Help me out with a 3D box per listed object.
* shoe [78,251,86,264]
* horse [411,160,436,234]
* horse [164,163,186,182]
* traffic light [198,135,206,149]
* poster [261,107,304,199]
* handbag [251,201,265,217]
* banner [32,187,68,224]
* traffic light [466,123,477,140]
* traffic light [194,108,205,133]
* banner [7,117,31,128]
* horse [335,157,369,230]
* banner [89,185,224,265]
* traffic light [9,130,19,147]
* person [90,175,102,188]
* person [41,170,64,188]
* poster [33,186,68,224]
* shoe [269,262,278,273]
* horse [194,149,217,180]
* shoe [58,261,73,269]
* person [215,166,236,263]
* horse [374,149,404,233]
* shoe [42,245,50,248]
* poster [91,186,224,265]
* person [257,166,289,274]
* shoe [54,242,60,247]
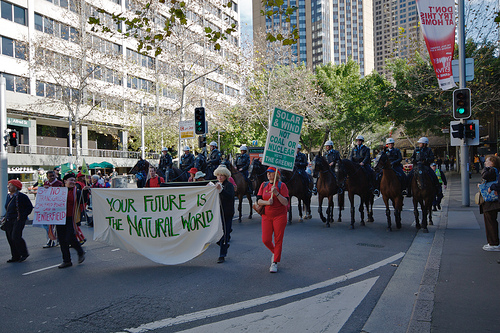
[{"bbox_3d":[-5.736,3.071,16.757,0.147,0.440,0.183,14,-5,-13],"label":"shoe"},{"bbox_3d":[7.097,1.207,20.097,0.926,2.985,2.336,2,11,21],"label":"horse"},{"bbox_3d":[-3.842,0.296,25.288,1.027,0.903,0.614,-4,11,-11],"label":"horse"},{"bbox_3d":[-2.546,-1.342,26.223,0.368,0.686,0.552,-3,11,-4],"label":"traffic light"},{"bbox_3d":[1.067,-0.846,16.151,1.064,3.262,0.114,9,-8,-5],"label":"poster"},{"bbox_3d":[0.338,1.362,15.670,0.298,0.399,0.164,15,18,41],"label":"handbag"},{"bbox_3d":[-6.866,1.352,16.969,1.333,1.384,0.103,0,-14,9],"label":"banner"},{"bbox_3d":[10.812,-1.700,23.976,0.423,0.817,0.954,4,12,30],"label":"traffic light"},{"bbox_3d":[-2.613,-2.383,25.381,0.494,1.245,0.390,-3,11,-3],"label":"traffic light"},{"bbox_3d":[-21.413,-4.051,45.195,0.948,1.047,2.642,1,11,17],"label":"banner"},{"bbox_3d":[4.885,1.174,22.148,1.046,3.023,4.175,-4,-6,31],"label":"horse"},{"bbox_3d":[-2.756,2.130,18.152,3.784,2.813,3.991,0,-1,8],"label":"banner"},{"bbox_3d":[-12.455,-1.473,25.818,0.354,0.810,0.410,-3,11,-5],"label":"traffic light"},{"bbox_3d":[-7.454,0.910,23.709,0.526,0.896,1.002,1,-2,-15],"label":"person"},{"bbox_3d":[-7.574,0.546,18.804,1.024,0.981,0.651,0,-3,-18],"label":"person"},{"bbox_3d":[-6.860,1.353,16.963,1.291,1.332,0.108,-2,-14,12],"label":"poster"},{"bbox_3d":[0.746,3.191,15.584,0.195,0.200,0.472,-2,-15,6],"label":"shoe"},{"bbox_3d":[-2.385,0.025,25.899,1.081,1.469,1.369,-4,11,-7],"label":"horse"},{"bbox_3d":[-6.216,3.259,16.529,0.476,0.164,0.326,-7,11,-24],"label":"shoe"},{"bbox_3d":[-0.872,1.558,16.537,0.502,3.132,0.915,4,13,32],"label":"person"},{"bbox_3d":[5.784,0.999,20.408,1.015,3.301,1.479,4,12,29],"label":"horse"},{"bbox_3d":[-8.011,3.102,19.259,0.240,0.103,0.090,4,-8,2],"label":"shoe"},{"bbox_3d":[-3.068,1.926,16.457,4.436,2.661,0.265,-1,-18,-9],"label":"poster"},{"bbox_3d":[0.753,1.649,15.668,0.934,3.210,1.010,-2,11,2],"label":"person"},{"bbox_3d":[-7.652,3.062,19.437,0.121,0.049,0.181,6,13,39],"label":"shoe"}]
